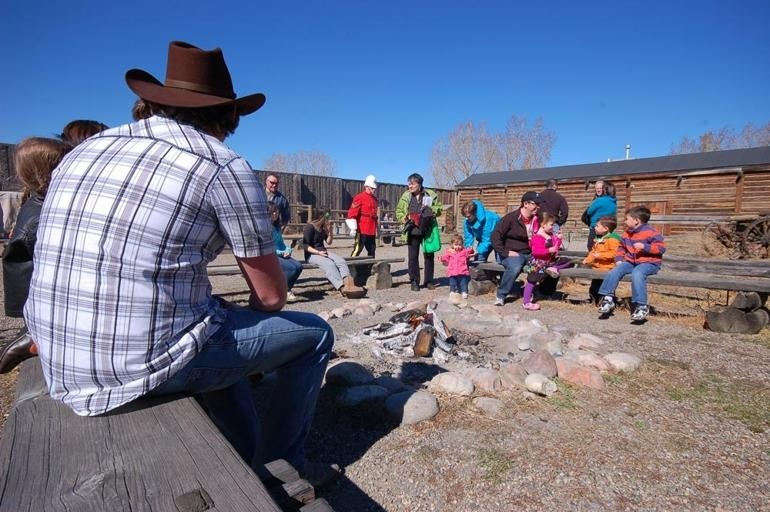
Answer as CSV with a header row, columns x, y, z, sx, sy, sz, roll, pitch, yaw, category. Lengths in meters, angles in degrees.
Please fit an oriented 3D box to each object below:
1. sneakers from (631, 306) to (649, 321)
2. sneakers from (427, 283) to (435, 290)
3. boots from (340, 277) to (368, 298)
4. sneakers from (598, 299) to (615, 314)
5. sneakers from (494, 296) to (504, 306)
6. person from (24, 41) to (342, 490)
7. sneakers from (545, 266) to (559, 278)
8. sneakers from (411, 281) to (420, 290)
x,y,z,sx,sy,sz,roll,pitch,yaw,category
3.447,0.745,4.861,0.131,0.167,0.405,-3,-4,43,sneakers
0.928,0.591,7.364,0.134,0.115,0.129,-1,-5,14,sneakers
-0.602,0.569,6.415,0.539,0.465,0.251,-1,0,2,boots
3.073,0.663,5.000,0.135,0.159,0.376,-4,0,39,sneakers
1.818,0.688,5.751,0.135,0.140,0.334,0,-7,16,sneakers
-1.016,0.308,1.978,1.328,1.808,1.041,2,-4,-44,person
2.649,0.243,5.809,0.129,0.108,0.270,-21,11,-10,sneakers
0.600,0.542,7.197,0.166,0.192,0.228,1,8,3,sneakers
